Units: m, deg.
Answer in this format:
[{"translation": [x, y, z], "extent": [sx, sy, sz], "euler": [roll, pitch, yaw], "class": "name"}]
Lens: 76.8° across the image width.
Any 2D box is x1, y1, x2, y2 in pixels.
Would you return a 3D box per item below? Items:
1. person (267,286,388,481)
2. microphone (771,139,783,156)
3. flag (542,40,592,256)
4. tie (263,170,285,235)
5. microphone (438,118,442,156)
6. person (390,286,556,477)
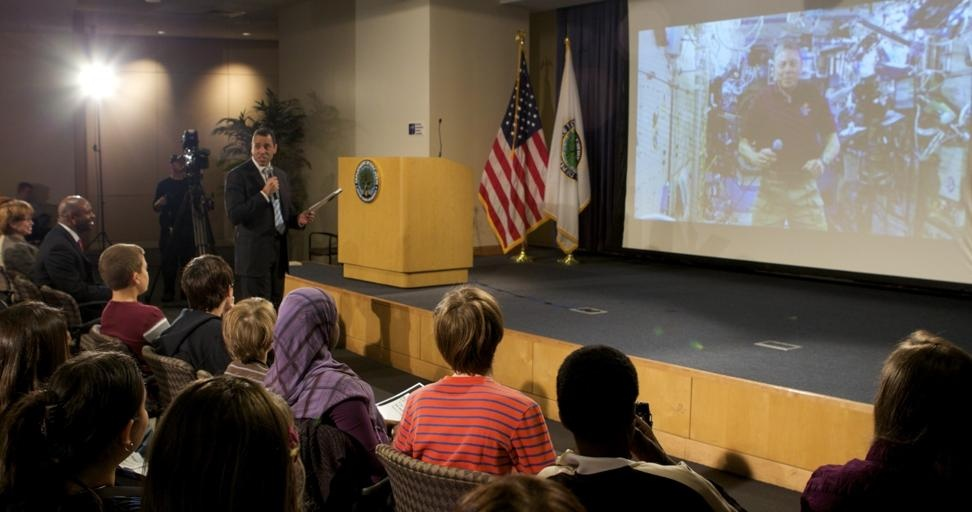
[{"translation": [-1.092, 0.764, 4.112], "extent": [1.111, 1.055, 0.635], "euler": [7, 15, 37], "class": "person"}, {"translation": [4.001, -1.501, 8.454], "extent": [0.158, 0.172, 0.056], "euler": [31, 18, 39], "class": "microphone"}, {"translation": [1.297, -1.658, 9.606], "extent": [0.642, 3.453, 0.558], "euler": [9, 9, 41], "class": "flag"}, {"translation": [-2.107, -0.545, 6.235], "extent": [0.197, 0.621, 0.158], "euler": [6, 31, 22], "class": "tie"}, {"translation": [-0.729, -1.962, 9.911], "extent": [0.096, 0.486, 0.024], "euler": [-4, 9, -43], "class": "microphone"}, {"translation": [-0.008, 0.791, 3.868], "extent": [1.330, 1.163, 0.891], "euler": [0, 2, 16], "class": "person"}]
